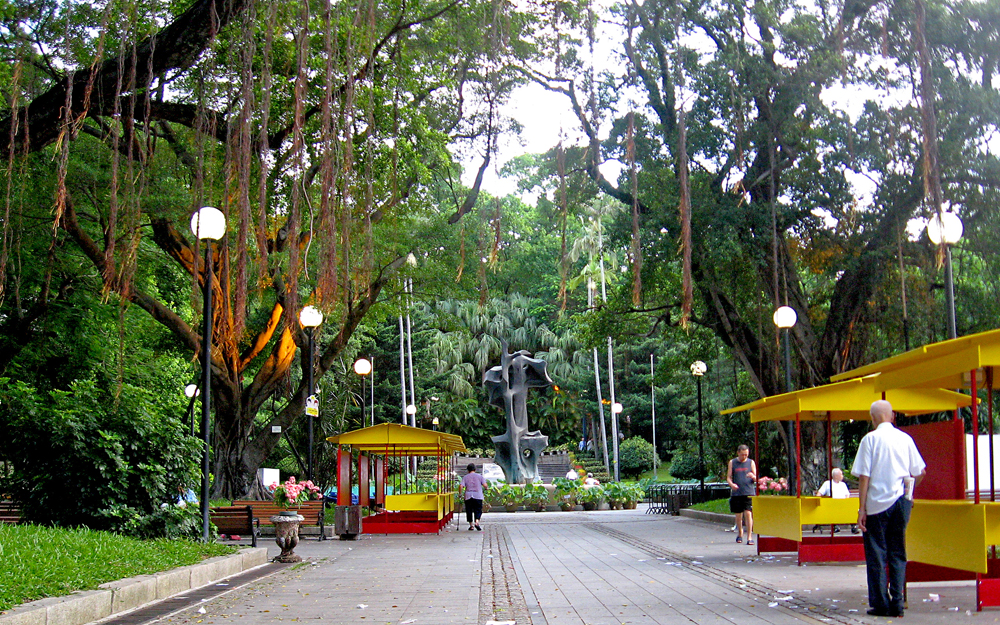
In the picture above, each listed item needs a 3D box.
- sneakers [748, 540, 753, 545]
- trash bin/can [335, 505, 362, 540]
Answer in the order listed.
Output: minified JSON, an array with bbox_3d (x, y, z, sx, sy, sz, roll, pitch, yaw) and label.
[{"bbox_3d":[6.512,5.987,24.328,0.100,0.122,0.303,-3,-16,6],"label":"sneakers"},{"bbox_3d":[-4.634,6.392,28.518,0.748,1.026,0.770,-2,-13,-4],"label":"trash bin/can"}]
